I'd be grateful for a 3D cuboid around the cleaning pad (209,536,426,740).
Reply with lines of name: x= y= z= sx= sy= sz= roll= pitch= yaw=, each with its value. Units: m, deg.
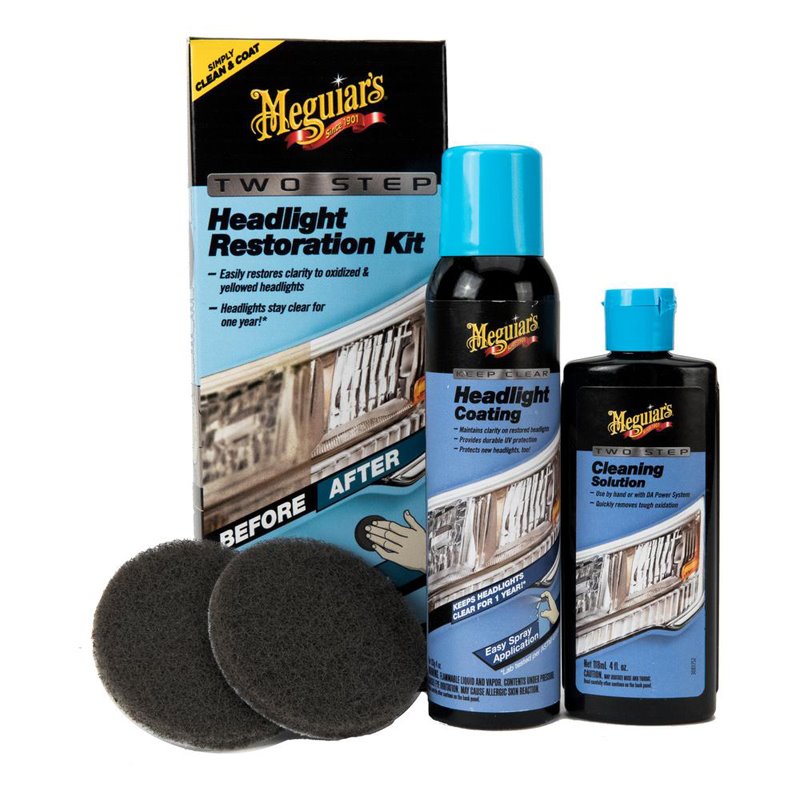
cleaning pad: x=-0.119 y=0.368 z=1.418 sx=0.334 sy=0.255 sz=0.205 roll=-6 pitch=13 yaw=-17
